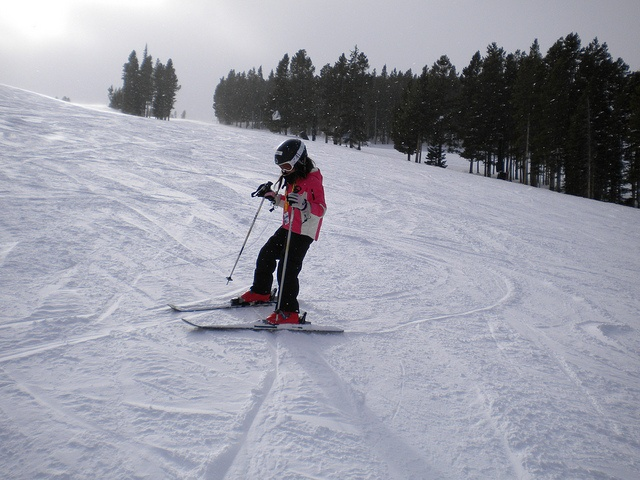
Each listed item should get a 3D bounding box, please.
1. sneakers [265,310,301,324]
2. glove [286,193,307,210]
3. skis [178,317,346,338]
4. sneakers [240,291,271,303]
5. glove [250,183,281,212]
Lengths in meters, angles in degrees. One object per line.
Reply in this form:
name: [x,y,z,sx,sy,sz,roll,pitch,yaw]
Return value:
sneakers: [-0.509,1.102,9.124,0.513,0.177,0.189,5,-2,-10]
glove: [-0.290,-0.546,8.905,0.233,0.235,0.325,10,11,33]
skis: [-0.905,1.238,8.931,2.383,0.177,0.240,1,13,-10]
sneakers: [-0.968,0.859,9.518,0.491,0.171,0.154,5,-6,-10]
glove: [-0.762,-0.667,9.339,0.368,0.462,0.190,33,18,11]
